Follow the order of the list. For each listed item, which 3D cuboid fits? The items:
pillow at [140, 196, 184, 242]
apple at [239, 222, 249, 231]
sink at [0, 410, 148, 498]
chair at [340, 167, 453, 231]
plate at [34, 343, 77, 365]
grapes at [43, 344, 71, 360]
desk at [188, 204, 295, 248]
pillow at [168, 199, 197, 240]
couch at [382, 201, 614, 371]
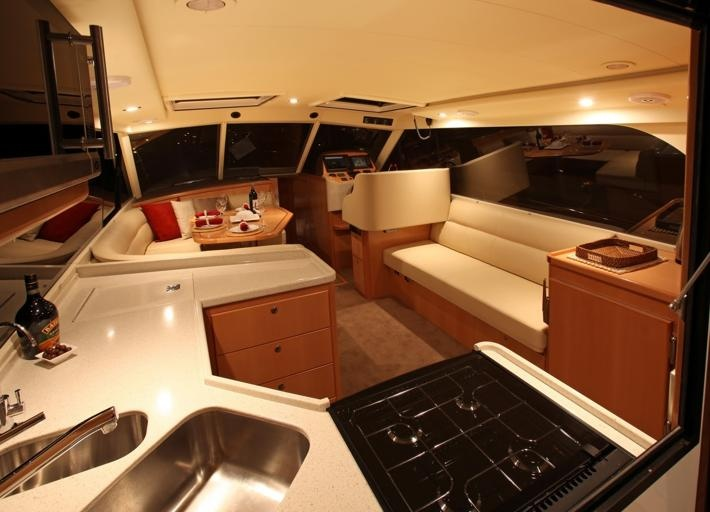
[{"bbox_3d":[-1.900,-0.377,4.815,0.459,0.385,0.240,-20,17,39],"label":"pillow"},{"bbox_3d":[-0.915,-0.243,3.876,0.079,0.075,0.114,-8,21,-14],"label":"apple"},{"bbox_3d":[-0.892,0.641,1.525,0.231,0.137,0.357,18,24,37],"label":"sink"},{"bbox_3d":[0.422,-0.536,4.415,1.147,0.593,0.586,-8,22,-20],"label":"chair"},{"bbox_3d":[-1.169,0.377,1.820,0.071,0.043,0.108,12,18,24],"label":"plate"},{"bbox_3d":[-1.159,0.375,1.826,0.051,0.023,0.077,12,20,30],"label":"grapes"},{"bbox_3d":[-0.937,-0.228,4.050,0.742,0.176,0.439,-9,16,-12],"label":"desk"},{"bbox_3d":[-1.738,-0.348,4.711,0.131,0.299,0.349,-2,30,-7],"label":"pillow"},{"bbox_3d":[1.081,0.081,3.836,0.894,0.831,1.886,-10,20,-27],"label":"couch"}]
